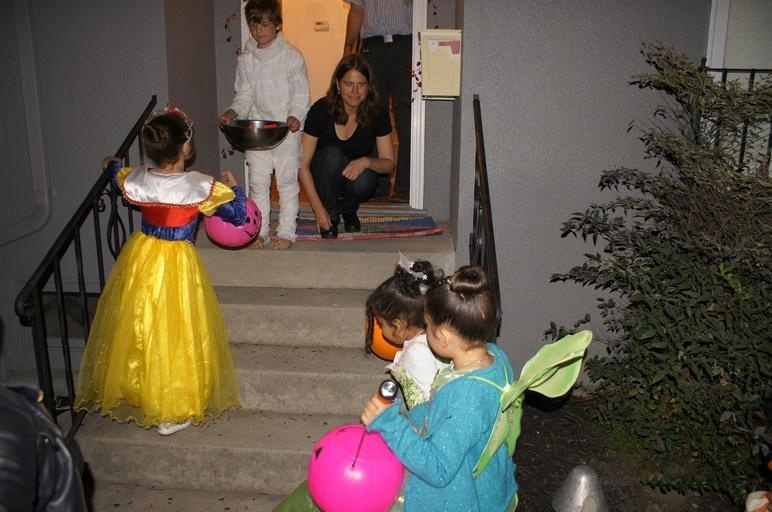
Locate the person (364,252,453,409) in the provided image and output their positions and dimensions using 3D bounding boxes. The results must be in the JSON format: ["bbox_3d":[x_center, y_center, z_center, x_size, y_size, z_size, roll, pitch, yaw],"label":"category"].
[{"bbox_3d":[0.104,0.410,2.676,0.386,0.414,0.895,-4,-31,0],"label":"person"}]

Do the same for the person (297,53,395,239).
[{"bbox_3d":[-0.323,-0.896,4.435,0.731,1.442,0.488,3,12,11],"label":"person"}]

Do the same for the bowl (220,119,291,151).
[{"bbox_3d":[-0.987,-0.897,4.005,0.525,0.205,0.543,2,8,0],"label":"bowl"}]

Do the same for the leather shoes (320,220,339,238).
[{"bbox_3d":[-0.468,-0.210,4.408,0.155,0.118,0.118,-4,12,-19],"label":"leather shoes"}]

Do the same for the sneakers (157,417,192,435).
[{"bbox_3d":[-1.315,1.054,3.322,0.146,0.056,0.113,-2,-2,-33],"label":"sneakers"}]
